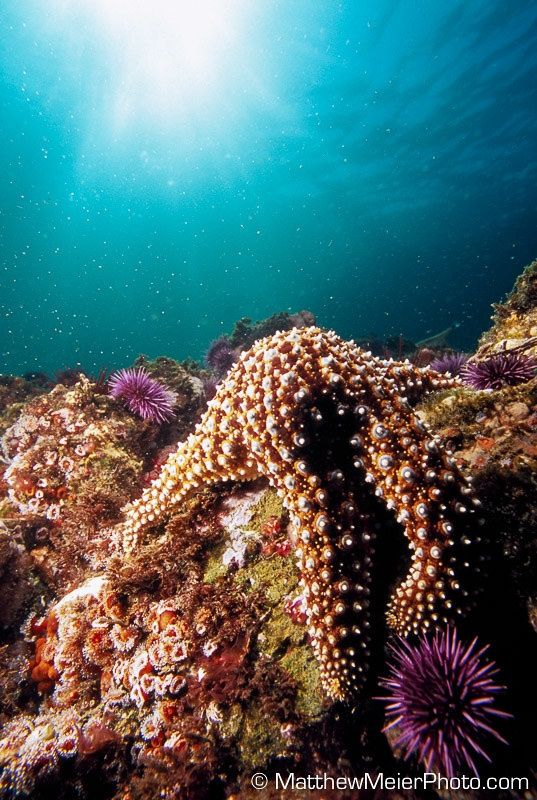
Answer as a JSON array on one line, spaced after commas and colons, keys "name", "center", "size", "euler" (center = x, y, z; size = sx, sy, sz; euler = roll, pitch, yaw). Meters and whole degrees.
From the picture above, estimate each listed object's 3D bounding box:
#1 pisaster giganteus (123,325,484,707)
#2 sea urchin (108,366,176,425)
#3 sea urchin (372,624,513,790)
[{"name": "pisaster giganteus", "center": [0.463, 0.594, 6.057], "size": [2.835, 2.902, 2.890], "euler": [-6, 4, -11]}, {"name": "sea urchin", "center": [-1.658, -0.059, 8.601], "size": [0.782, 0.407, 0.769], "euler": [23, 17, -20]}, {"name": "sea urchin", "center": [1.347, 2.232, 4.902], "size": [1.074, 1.033, 0.537], "euler": [14, 3, 40]}]
